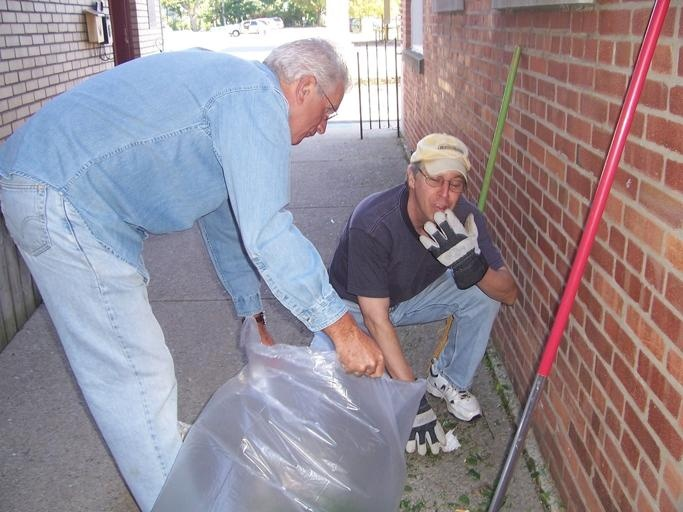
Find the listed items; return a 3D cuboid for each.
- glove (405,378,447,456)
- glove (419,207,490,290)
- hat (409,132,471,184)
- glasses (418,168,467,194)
[{"bbox_3d":[0.447,0.871,2.679,0.241,0.292,0.187,-5,21,-9],"label":"glove"},{"bbox_3d":[0.547,-0.042,2.539,0.354,0.368,0.093,-39,6,0],"label":"glove"},{"bbox_3d":[0.492,-0.491,2.492,0.189,0.153,0.273,9,21,-13],"label":"hat"},{"bbox_3d":[0.490,-0.396,2.517,0.127,0.068,0.164,-1,16,-28],"label":"glasses"}]
